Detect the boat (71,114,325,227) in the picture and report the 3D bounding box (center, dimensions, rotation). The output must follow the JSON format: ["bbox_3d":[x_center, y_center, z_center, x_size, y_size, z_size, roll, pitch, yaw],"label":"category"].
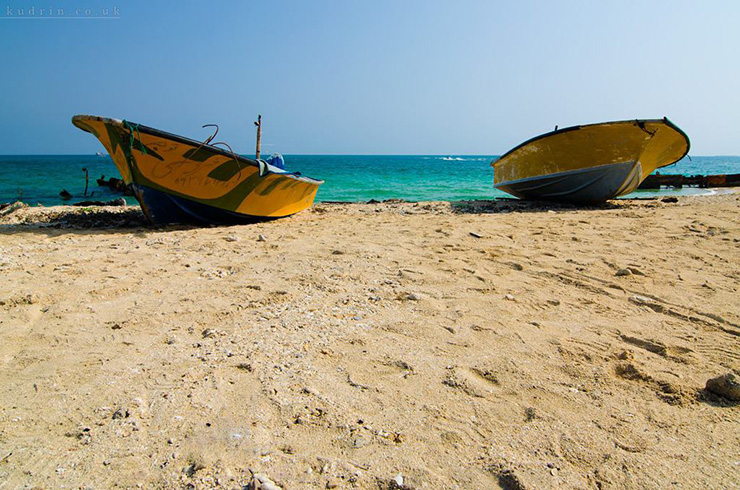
[{"bbox_3d":[-2.776,-1.002,9.424,2.323,1.485,5.010,8,0,37],"label":"boat"}]
